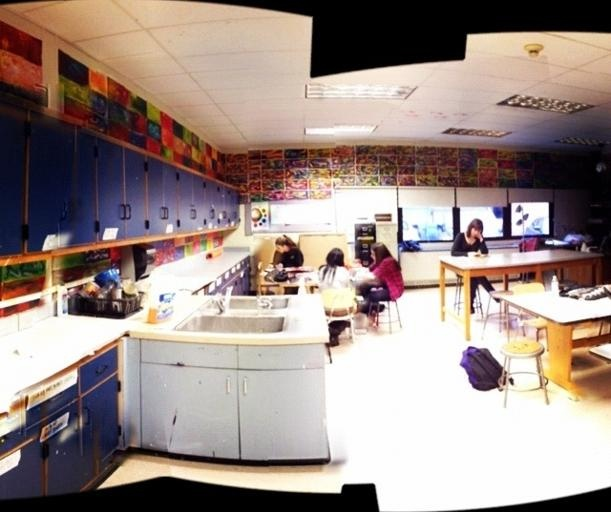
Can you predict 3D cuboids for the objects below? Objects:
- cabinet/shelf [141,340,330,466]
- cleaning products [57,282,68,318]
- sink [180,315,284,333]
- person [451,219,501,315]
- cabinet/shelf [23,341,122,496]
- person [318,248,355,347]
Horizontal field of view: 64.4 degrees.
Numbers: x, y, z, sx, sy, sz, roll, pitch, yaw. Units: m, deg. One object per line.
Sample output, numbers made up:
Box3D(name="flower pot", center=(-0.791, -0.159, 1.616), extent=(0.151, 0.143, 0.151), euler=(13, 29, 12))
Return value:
Box3D(name="cabinet/shelf", center=(-0.403, 0.812, 3.108), extent=(1.074, 0.753, 0.587), euler=(3, 12, 2))
Box3D(name="cleaning products", center=(-1.529, 0.279, 3.076), extent=(0.033, 0.186, 0.102), euler=(1, 6, 14))
Box3D(name="sink", center=(-0.469, 0.443, 3.141), extent=(0.643, 0.124, 0.204), euler=(-1, 6, -10))
Box3D(name="person", center=(1.897, 0.056, 5.470), extent=(0.489, 0.961, 0.564), euler=(-2, 16, -7))
Box3D(name="cabinet/shelf", center=(-1.323, 0.933, 2.619), extent=(0.273, 0.720, 0.770), euler=(2, 4, 5))
Box3D(name="person", center=(0.282, 0.381, 4.687), extent=(0.289, 0.916, 0.531), euler=(0, 6, 5))
